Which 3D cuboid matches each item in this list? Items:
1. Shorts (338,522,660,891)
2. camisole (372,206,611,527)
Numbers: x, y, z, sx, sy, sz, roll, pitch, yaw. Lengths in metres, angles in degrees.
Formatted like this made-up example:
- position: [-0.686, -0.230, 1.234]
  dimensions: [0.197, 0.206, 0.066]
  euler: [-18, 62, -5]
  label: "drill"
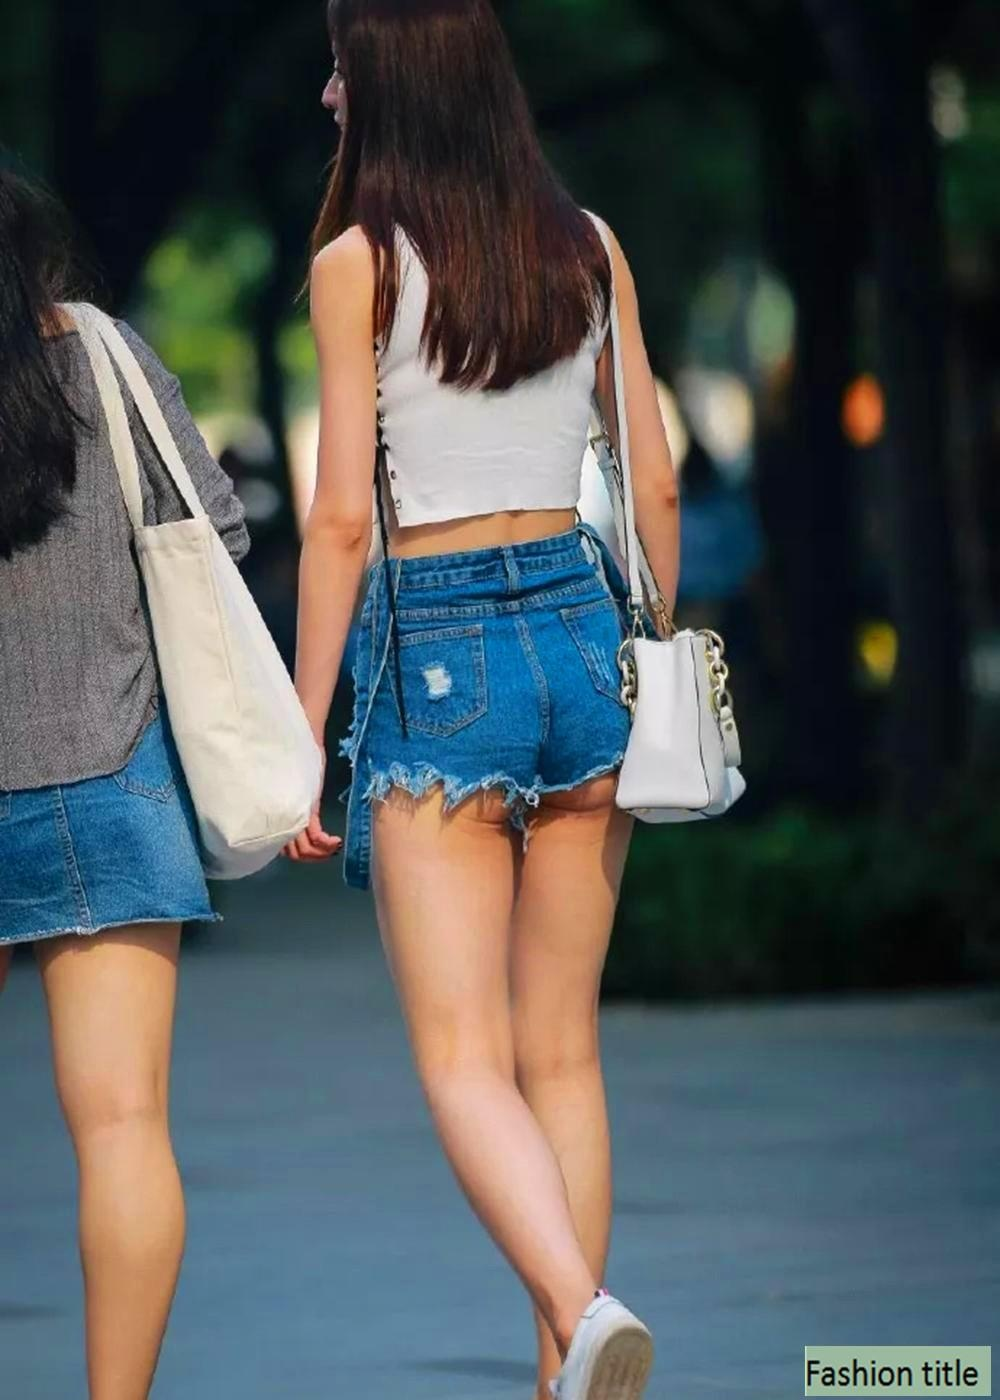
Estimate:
- position: [0.084, -0.049, 3.263]
  dimensions: [0.365, 0.544, 0.330]
  euler: [-5, 26, 9]
  label: "Shorts"
- position: [-0.012, -0.446, 3.109]
  dimensions: [0.317, 0.376, 0.265]
  euler: [-3, 45, -2]
  label: "camisole"
